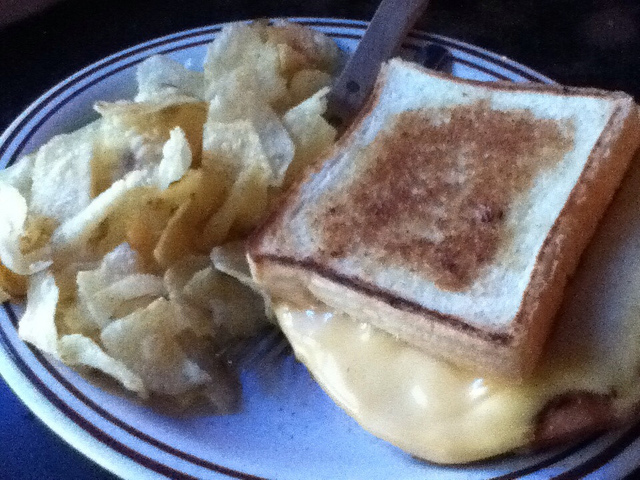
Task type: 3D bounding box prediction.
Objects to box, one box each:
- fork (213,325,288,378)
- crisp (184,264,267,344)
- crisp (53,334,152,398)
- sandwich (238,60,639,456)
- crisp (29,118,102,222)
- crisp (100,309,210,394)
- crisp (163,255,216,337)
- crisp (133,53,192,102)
[{"bbox_3d":[-0.115,0.185,1.266,0.085,0.026,0.088,31,70,20],"label":"fork"},{"bbox_3d":[-0.154,0.107,1.276,0.119,0.032,0.120,-39,100,-34],"label":"crisp"},{"bbox_3d":[-0.320,0.184,1.203,0.157,0.061,0.057,21,86,3],"label":"crisp"},{"bbox_3d":[0.184,0.032,1.180,0.610,0.137,0.571,13,86,2],"label":"sandwich"},{"bbox_3d":[-0.396,-0.104,1.263,0.125,0.038,0.133,3,69,5],"label":"crisp"},{"bbox_3d":[-0.252,0.172,1.209,0.133,0.033,0.138,-20,91,-28],"label":"crisp"},{"bbox_3d":[-0.197,0.087,1.232,0.027,0.104,0.108,-12,74,42],"label":"crisp"},{"bbox_3d":[-0.270,-0.268,1.355,0.085,0.079,0.096,14,86,2],"label":"crisp"}]
